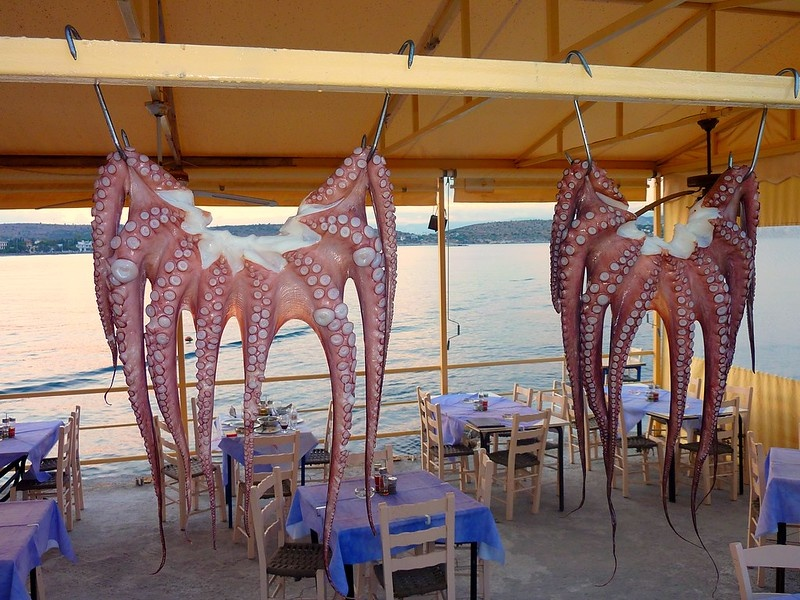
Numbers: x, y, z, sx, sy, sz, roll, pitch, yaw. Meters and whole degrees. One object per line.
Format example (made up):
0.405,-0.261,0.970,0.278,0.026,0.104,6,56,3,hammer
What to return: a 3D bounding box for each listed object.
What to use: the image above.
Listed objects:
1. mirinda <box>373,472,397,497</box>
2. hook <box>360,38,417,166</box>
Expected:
-0.118,1.529,7.792,0.123,0.202,0.216,-1,-1,2,mirinda
-0.034,-1.025,5.032,0.278,0.770,0.105,29,20,37,hook
